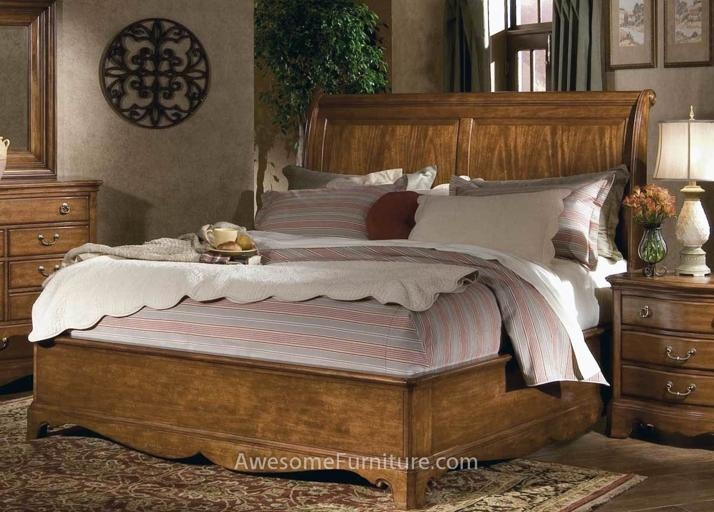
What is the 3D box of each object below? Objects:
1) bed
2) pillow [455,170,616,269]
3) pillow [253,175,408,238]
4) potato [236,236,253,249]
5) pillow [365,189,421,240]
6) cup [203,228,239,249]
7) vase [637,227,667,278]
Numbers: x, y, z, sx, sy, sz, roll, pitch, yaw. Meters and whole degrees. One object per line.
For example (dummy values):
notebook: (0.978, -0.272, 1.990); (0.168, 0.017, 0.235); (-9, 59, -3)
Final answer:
bed: (0.095, -0.074, 4.010); (3.012, 1.600, 2.872); (3, 4, 36)
pillow: (1.202, -0.215, 3.958); (0.835, 0.606, 0.218); (-2, -24, 28)
pillow: (-0.267, -0.321, 4.358); (0.850, 0.220, 0.313); (-3, 21, 19)
potato: (-0.550, -0.067, 3.438); (0.069, 0.048, 0.076); (7, -3, 8)
pillow: (0.232, -0.236, 4.105); (0.355, 0.259, 0.097); (-6, -31, 31)
cup: (-0.688, -0.093, 3.497); (0.179, 0.087, 0.115); (1, 5, 10)
vase: (1.584, -0.022, 3.670); (0.158, 0.205, 0.156); (4, -1, 43)
